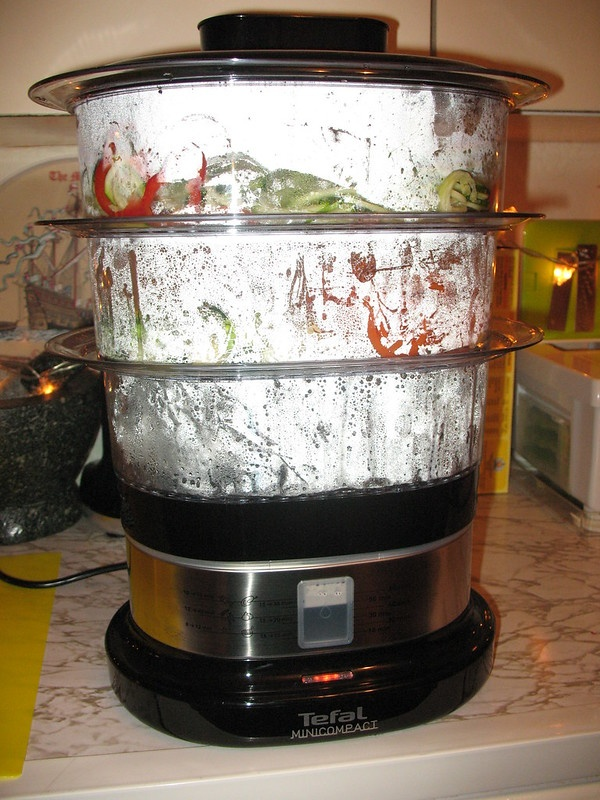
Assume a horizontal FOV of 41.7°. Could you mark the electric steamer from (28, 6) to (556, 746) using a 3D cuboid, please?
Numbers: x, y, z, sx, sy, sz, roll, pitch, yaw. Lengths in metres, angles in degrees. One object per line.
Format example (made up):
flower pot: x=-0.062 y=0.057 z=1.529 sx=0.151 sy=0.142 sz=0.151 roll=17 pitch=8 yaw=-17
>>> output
electric steamer: x=-0.012 y=-0.004 z=0.635 sx=0.357 sy=0.471 sz=0.353 roll=-6 pitch=9 yaw=-33

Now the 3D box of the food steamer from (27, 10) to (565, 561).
food steamer: x=-0.003 y=-0.145 z=0.598 sx=0.372 sy=0.234 sz=0.351 roll=2 pitch=13 yaw=9
